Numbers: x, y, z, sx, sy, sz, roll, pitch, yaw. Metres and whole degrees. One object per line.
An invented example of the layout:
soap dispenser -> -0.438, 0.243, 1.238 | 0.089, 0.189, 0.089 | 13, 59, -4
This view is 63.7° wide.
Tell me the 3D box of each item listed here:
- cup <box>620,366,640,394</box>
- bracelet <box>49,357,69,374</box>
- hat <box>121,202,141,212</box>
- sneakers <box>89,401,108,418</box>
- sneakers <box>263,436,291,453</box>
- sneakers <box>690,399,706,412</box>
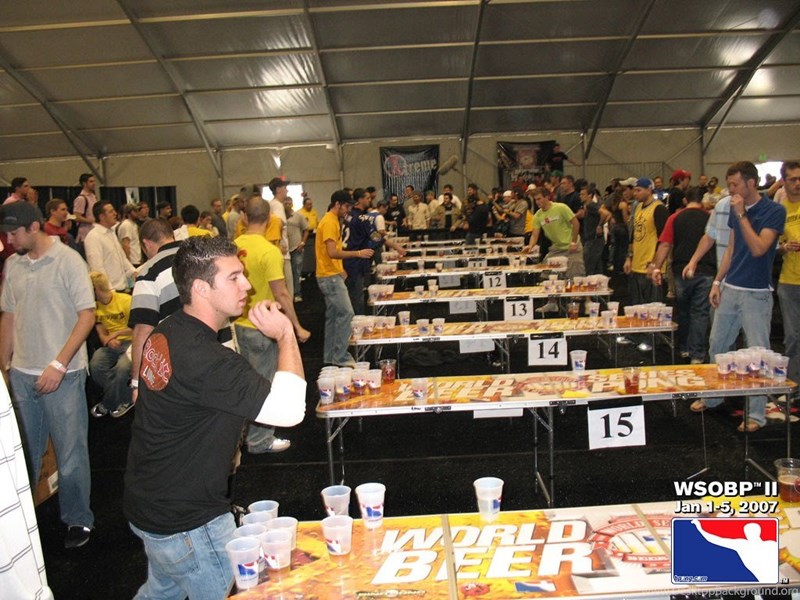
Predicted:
cup -> 1.491, 0.535, 4.206 | 0.138, 0.181, 0.133 | -1, -3, 0
bracelet -> -2.104, 0.402, 3.964 | 0.092, 0.055, 0.089 | -2, -23, 3
hat -> -3.898, -1.351, 9.288 | 0.151, 0.121, 0.173 | 2, 15, 10
sneakers -> -2.935, 1.065, 6.268 | 0.131, 0.124, 0.298 | 4, -5, -33
sneakers -> -1.042, 1.219, 5.442 | 0.213, 0.094, 0.090 | -5, 11, -11
sneakers -> 2.634, 0.933, 5.702 | 0.151, 0.048, 0.101 | -20, 35, -2
